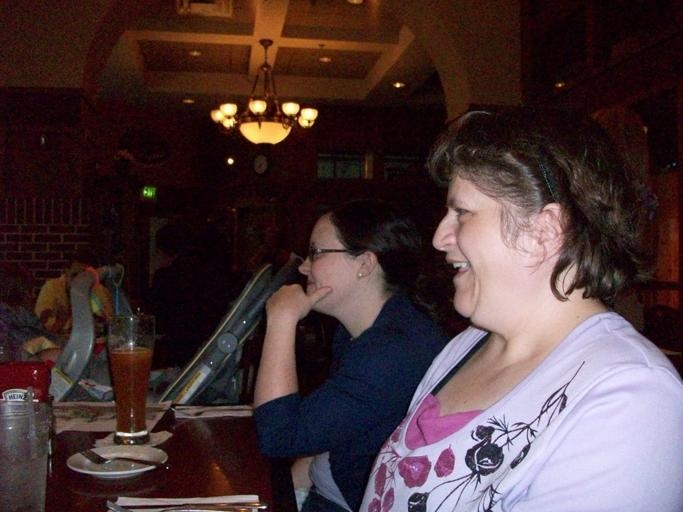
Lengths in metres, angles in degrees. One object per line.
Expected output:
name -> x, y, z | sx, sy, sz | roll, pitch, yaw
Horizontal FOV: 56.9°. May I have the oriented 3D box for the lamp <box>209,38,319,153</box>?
lamp -> -0.839, -1.732, 6.799 | 1.170, 1.001, 1.141 | -4, 8, -34
